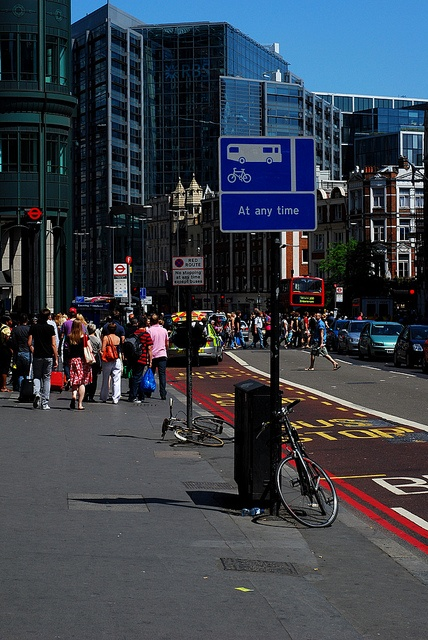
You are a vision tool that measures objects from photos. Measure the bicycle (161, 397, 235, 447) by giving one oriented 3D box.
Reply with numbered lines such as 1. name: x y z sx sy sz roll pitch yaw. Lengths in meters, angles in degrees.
1. bicycle: -0.225 1.378 13.188 0.948 0.540 1.207 -1 3 0

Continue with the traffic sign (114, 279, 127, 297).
1. traffic sign: -3.034 -1.073 31.570 0.437 0.713 0.327 1 9 5

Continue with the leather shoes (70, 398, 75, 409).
1. leather shoes: -2.471 1.461 17.019 0.062 0.215 0.080 2 -3 4

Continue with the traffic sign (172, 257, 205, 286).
1. traffic sign: -0.376 -0.698 13.823 0.443 0.416 0.594 -1 3 -3

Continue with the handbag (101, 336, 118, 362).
1. handbag: -1.911 0.520 17.876 0.387 0.684 0.328 0 -6 -6

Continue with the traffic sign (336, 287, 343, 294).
1. traffic sign: 7.551 -1.831 59.182 0.388 0.317 0.055 -2 -1 -16

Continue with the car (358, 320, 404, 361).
1. car: 6.093 0.722 36.086 0.939 0.916 1.807 1 -2 -7

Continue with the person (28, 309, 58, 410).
1. person: -2.937 0.681 16.818 0.424 1.736 0.992 -1 3 -10

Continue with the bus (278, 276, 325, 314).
1. bus: 5.446 -1.586 61.334 2.069 2.225 3.442 -1 3 -9

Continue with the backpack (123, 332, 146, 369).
1. backpack: -1.485 0.534 17.947 0.332 0.526 0.477 0 -7 -3

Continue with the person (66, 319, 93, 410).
1. person: -2.351 0.778 17.049 0.398 1.576 0.530 -1 3 -9

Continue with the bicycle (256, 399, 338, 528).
1. bicycle: 0.688 1.272 7.759 0.573 1.084 0.474 -4 -21 -14

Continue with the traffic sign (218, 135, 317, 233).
1. traffic sign: 0.421 -1.088 7.885 0.721 0.819 0.015 0 -7 -2

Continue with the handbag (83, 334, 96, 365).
1. handbag: -2.194 0.519 17.108 0.171 0.555 0.646 -1 3 -5
